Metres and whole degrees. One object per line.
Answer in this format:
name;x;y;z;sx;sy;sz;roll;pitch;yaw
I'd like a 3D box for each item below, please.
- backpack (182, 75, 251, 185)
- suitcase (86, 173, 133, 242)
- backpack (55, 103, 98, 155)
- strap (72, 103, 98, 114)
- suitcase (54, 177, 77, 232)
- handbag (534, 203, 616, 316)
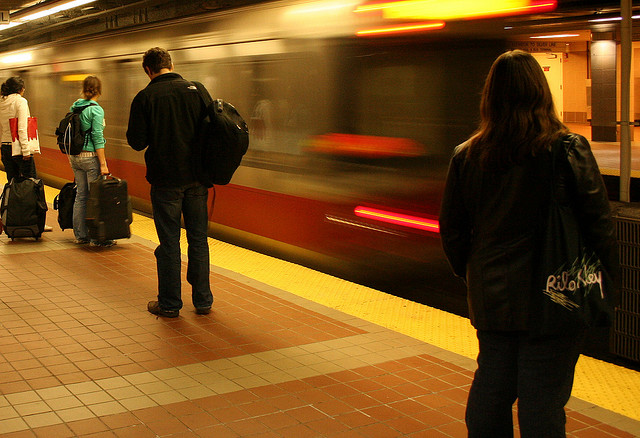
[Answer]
backpack;-0.909;-0.732;4.265;0.456;0.788;0.227;2;14;5
suitcase;-3.148;-0.133;6.673;0.607;0.939;0.191;-5;15;-23
backpack;-3.634;-1.344;6.675;0.570;0.668;0.530;20;21;41
strap;-3.449;-1.601;6.544;0.238;0.070;0.163;-21;12;-15
suitcase;-3.994;-0.206;7.059;0.403;0.740;0.183;8;16;30
handbag;1.018;0.158;1.747;0.310;0.436;0.142;-4;14;-17
